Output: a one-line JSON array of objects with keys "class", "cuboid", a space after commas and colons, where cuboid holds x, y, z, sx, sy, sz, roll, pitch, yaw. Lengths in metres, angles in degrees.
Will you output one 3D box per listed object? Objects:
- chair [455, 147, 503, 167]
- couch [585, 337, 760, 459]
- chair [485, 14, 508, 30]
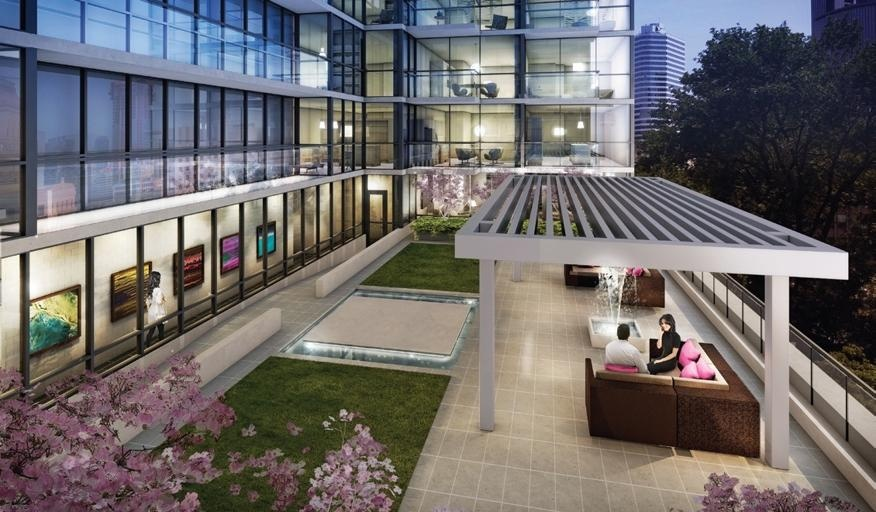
[{"class": "chair", "cuboid": [2.038, -4.907, 26.360, 1.750, 0.712, 1.094, 0, 6, 10]}, {"class": "couch", "cuboid": [4.818, 3.094, 11.075, 2.104, 0.787, 2.290, 3, 7, 13]}, {"class": "chair", "cuboid": [2.812, -11.305, 25.861, 0.877, 0.921, 0.775, 10, 32, 10]}]
